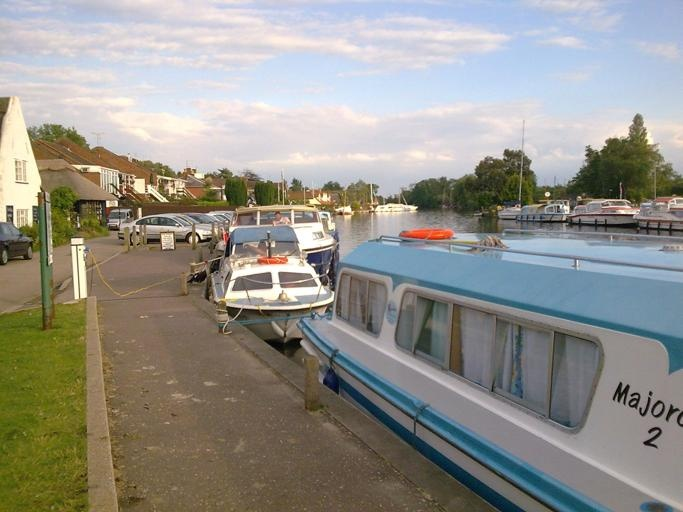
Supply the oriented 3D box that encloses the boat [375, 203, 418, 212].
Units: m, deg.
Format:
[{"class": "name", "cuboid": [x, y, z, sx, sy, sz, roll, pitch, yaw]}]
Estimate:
[{"class": "boat", "cuboid": [15.682, -13.958, 165.432, 14.003, 2.385, 3.818, -4, 12, -42]}]
